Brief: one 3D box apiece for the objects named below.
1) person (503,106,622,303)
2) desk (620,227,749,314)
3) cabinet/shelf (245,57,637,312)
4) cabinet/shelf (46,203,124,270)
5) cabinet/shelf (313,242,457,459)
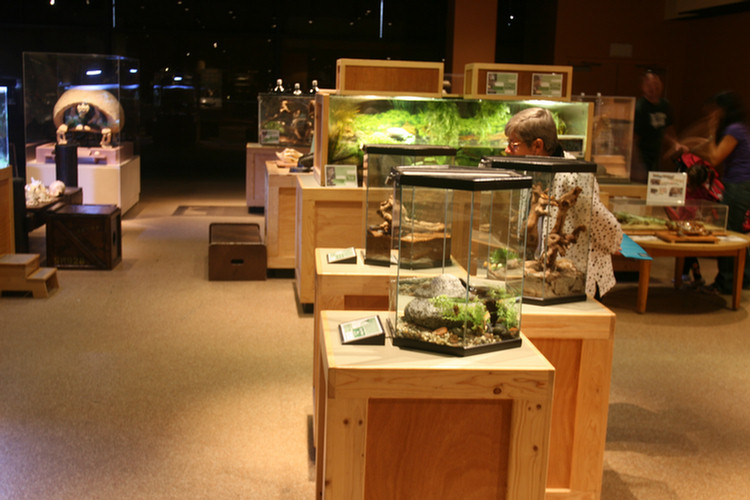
[{"bbox_3d":[1.079,-0.228,3.495,0.654,1.098,0.661,1,13,8],"label":"person"},{"bbox_3d":[3.466,0.100,6.843,1.100,0.586,1.127,-1,9,4],"label":"desk"},{"bbox_3d":[0.007,-0.988,7.345,3.015,2.570,3.018,-3,8,-15],"label":"cabinet/shelf"},{"bbox_3d":[-3.539,-0.169,7.597,0.779,0.690,0.791,1,5,-7],"label":"cabinet/shelf"},{"bbox_3d":[-0.091,0.521,4.403,1.008,1.900,1.013,0,9,-6],"label":"cabinet/shelf"}]
